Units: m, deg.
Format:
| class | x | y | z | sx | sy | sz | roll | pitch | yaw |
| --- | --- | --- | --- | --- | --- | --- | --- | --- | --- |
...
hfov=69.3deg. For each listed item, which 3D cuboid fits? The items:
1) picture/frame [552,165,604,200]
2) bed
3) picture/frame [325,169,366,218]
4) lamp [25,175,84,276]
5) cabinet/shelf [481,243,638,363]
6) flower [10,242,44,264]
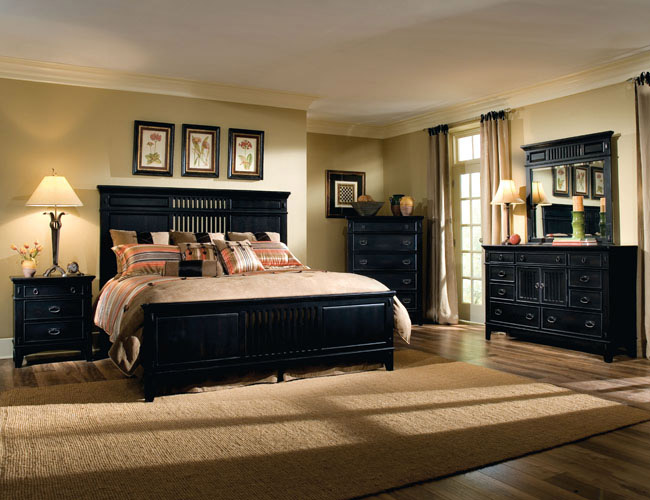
| class | x | y | z | sx | sy | sz | roll | pitch | yaw |
| --- | --- | --- | --- | --- | --- | --- | --- | --- | --- |
| picture/frame | 2.969 | -0.788 | 5.476 | 0.018 | 0.314 | 0.462 | -3 | 6 | -30 |
| bed | -1.150 | 0.476 | 4.864 | 2.494 | 1.462 | 2.387 | -1 | 1 | -28 |
| picture/frame | 0.300 | -0.894 | 7.671 | 0.929 | 0.929 | 0.070 | 0 | 1 | -30 |
| lamp | -2.899 | -0.304 | 5.069 | 0.527 | 1.134 | 0.514 | -1 | 2 | -31 |
| cabinet/shelf | 2.621 | 0.587 | 5.142 | 0.484 | 0.898 | 1.240 | 1 | -1 | -30 |
| flower | -3.222 | 0.031 | 5.128 | 0.260 | 0.221 | 0.238 | -4 | -1 | 10 |
